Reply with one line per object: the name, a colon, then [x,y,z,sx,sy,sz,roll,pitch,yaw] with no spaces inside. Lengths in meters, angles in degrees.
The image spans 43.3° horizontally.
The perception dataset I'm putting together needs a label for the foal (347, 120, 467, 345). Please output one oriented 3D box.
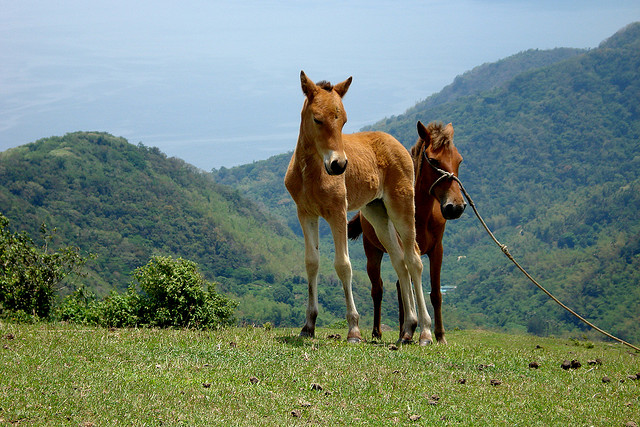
foal: [12.853,4.878,123.194,9.999,28.759,39.648,0,-10,-16]
